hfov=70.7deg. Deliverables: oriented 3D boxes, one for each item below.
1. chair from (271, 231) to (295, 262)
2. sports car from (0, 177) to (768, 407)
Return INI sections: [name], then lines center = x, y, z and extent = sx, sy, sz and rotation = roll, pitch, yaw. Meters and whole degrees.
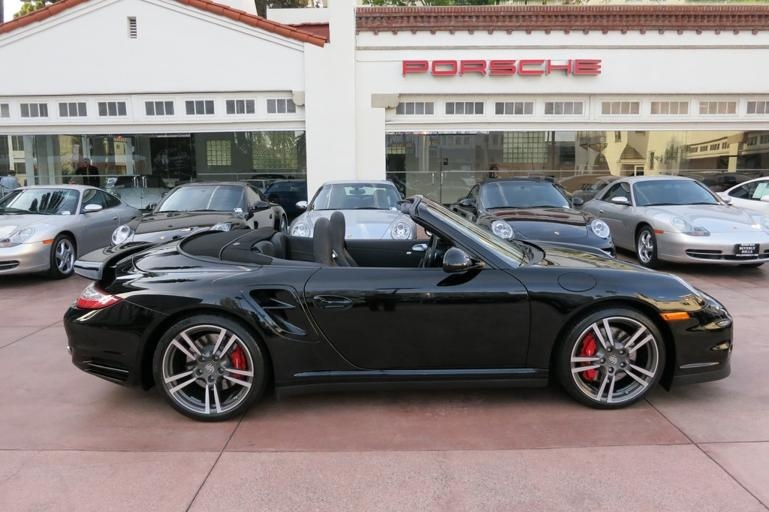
[chair]
center = -1.058, -0.092, 5.680
extent = 0.119, 0.200, 0.328
rotation = -6, -16, 13
[sports car]
center = 0.027, 0.221, 5.612
extent = 5.902, 1.325, 2.457
rotation = -1, 5, -2
